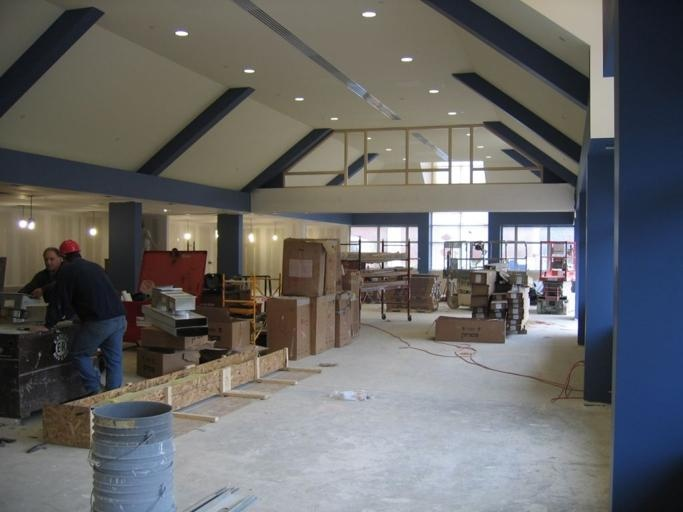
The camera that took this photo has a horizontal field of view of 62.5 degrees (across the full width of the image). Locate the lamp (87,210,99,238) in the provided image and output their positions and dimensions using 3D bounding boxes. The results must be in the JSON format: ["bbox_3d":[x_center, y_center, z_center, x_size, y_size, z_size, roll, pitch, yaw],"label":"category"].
[{"bbox_3d":[-6.786,-0.879,15.410,0.235,0.896,0.243,10,-38,-17],"label":"lamp"}]

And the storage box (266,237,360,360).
[{"bbox_3d":[-0.406,0.768,9.453,0.722,2.021,2.080,0,2,23],"label":"storage box"}]

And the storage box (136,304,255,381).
[{"bbox_3d":[-2.030,1.147,7.913,0.847,0.921,1.474,4,5,41],"label":"storage box"}]

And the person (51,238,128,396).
[{"bbox_3d":[-2.699,0.677,6.116,0.679,1.658,0.701,-1,4,-23],"label":"person"}]

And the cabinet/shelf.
[{"bbox_3d":[0.832,0.624,14.784,0.810,2.254,2.300,4,2,39],"label":"cabinet/shelf"}]

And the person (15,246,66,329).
[{"bbox_3d":[-3.477,0.448,6.690,0.485,1.009,0.309,-4,20,-34],"label":"person"}]

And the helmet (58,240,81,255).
[{"bbox_3d":[-2.973,-0.081,6.180,0.164,0.128,0.228,-9,1,-36],"label":"helmet"}]

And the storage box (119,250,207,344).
[{"bbox_3d":[-3.072,0.489,9.672,1.183,1.254,0.894,3,-5,12],"label":"storage box"}]
